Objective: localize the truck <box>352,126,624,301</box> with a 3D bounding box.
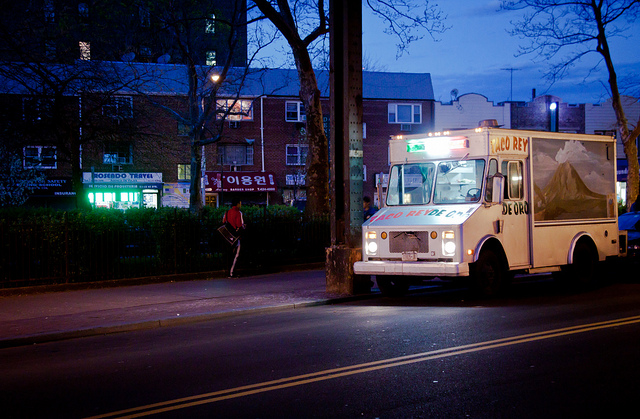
[{"bbox_3d":[4.970,0.031,17.821,7.597,4.133,3.775,-1,0,-35],"label":"truck"}]
